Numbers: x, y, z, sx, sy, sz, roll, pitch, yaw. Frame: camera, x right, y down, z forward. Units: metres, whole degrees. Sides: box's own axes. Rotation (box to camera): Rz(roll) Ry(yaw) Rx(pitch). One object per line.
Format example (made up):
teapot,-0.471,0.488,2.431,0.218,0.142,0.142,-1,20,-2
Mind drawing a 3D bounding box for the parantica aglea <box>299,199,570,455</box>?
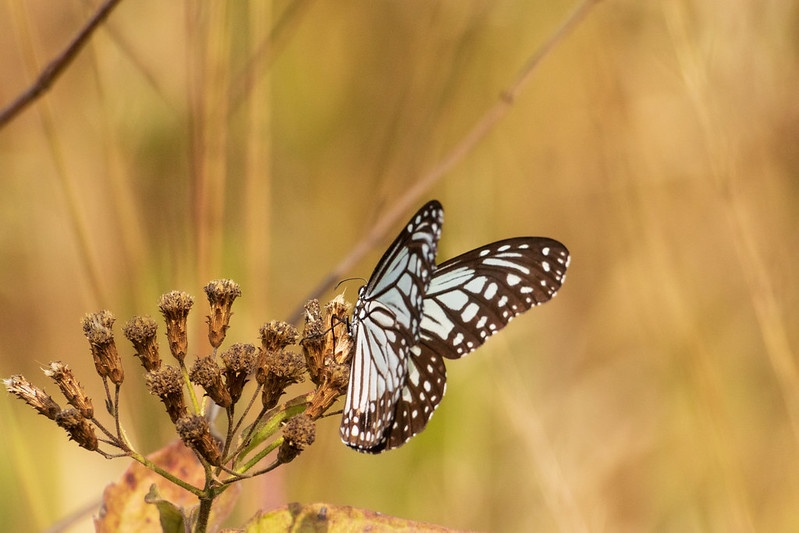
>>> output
parantica aglea,0.043,0.100,1.649,0.232,0.386,0.336,32,20,26
